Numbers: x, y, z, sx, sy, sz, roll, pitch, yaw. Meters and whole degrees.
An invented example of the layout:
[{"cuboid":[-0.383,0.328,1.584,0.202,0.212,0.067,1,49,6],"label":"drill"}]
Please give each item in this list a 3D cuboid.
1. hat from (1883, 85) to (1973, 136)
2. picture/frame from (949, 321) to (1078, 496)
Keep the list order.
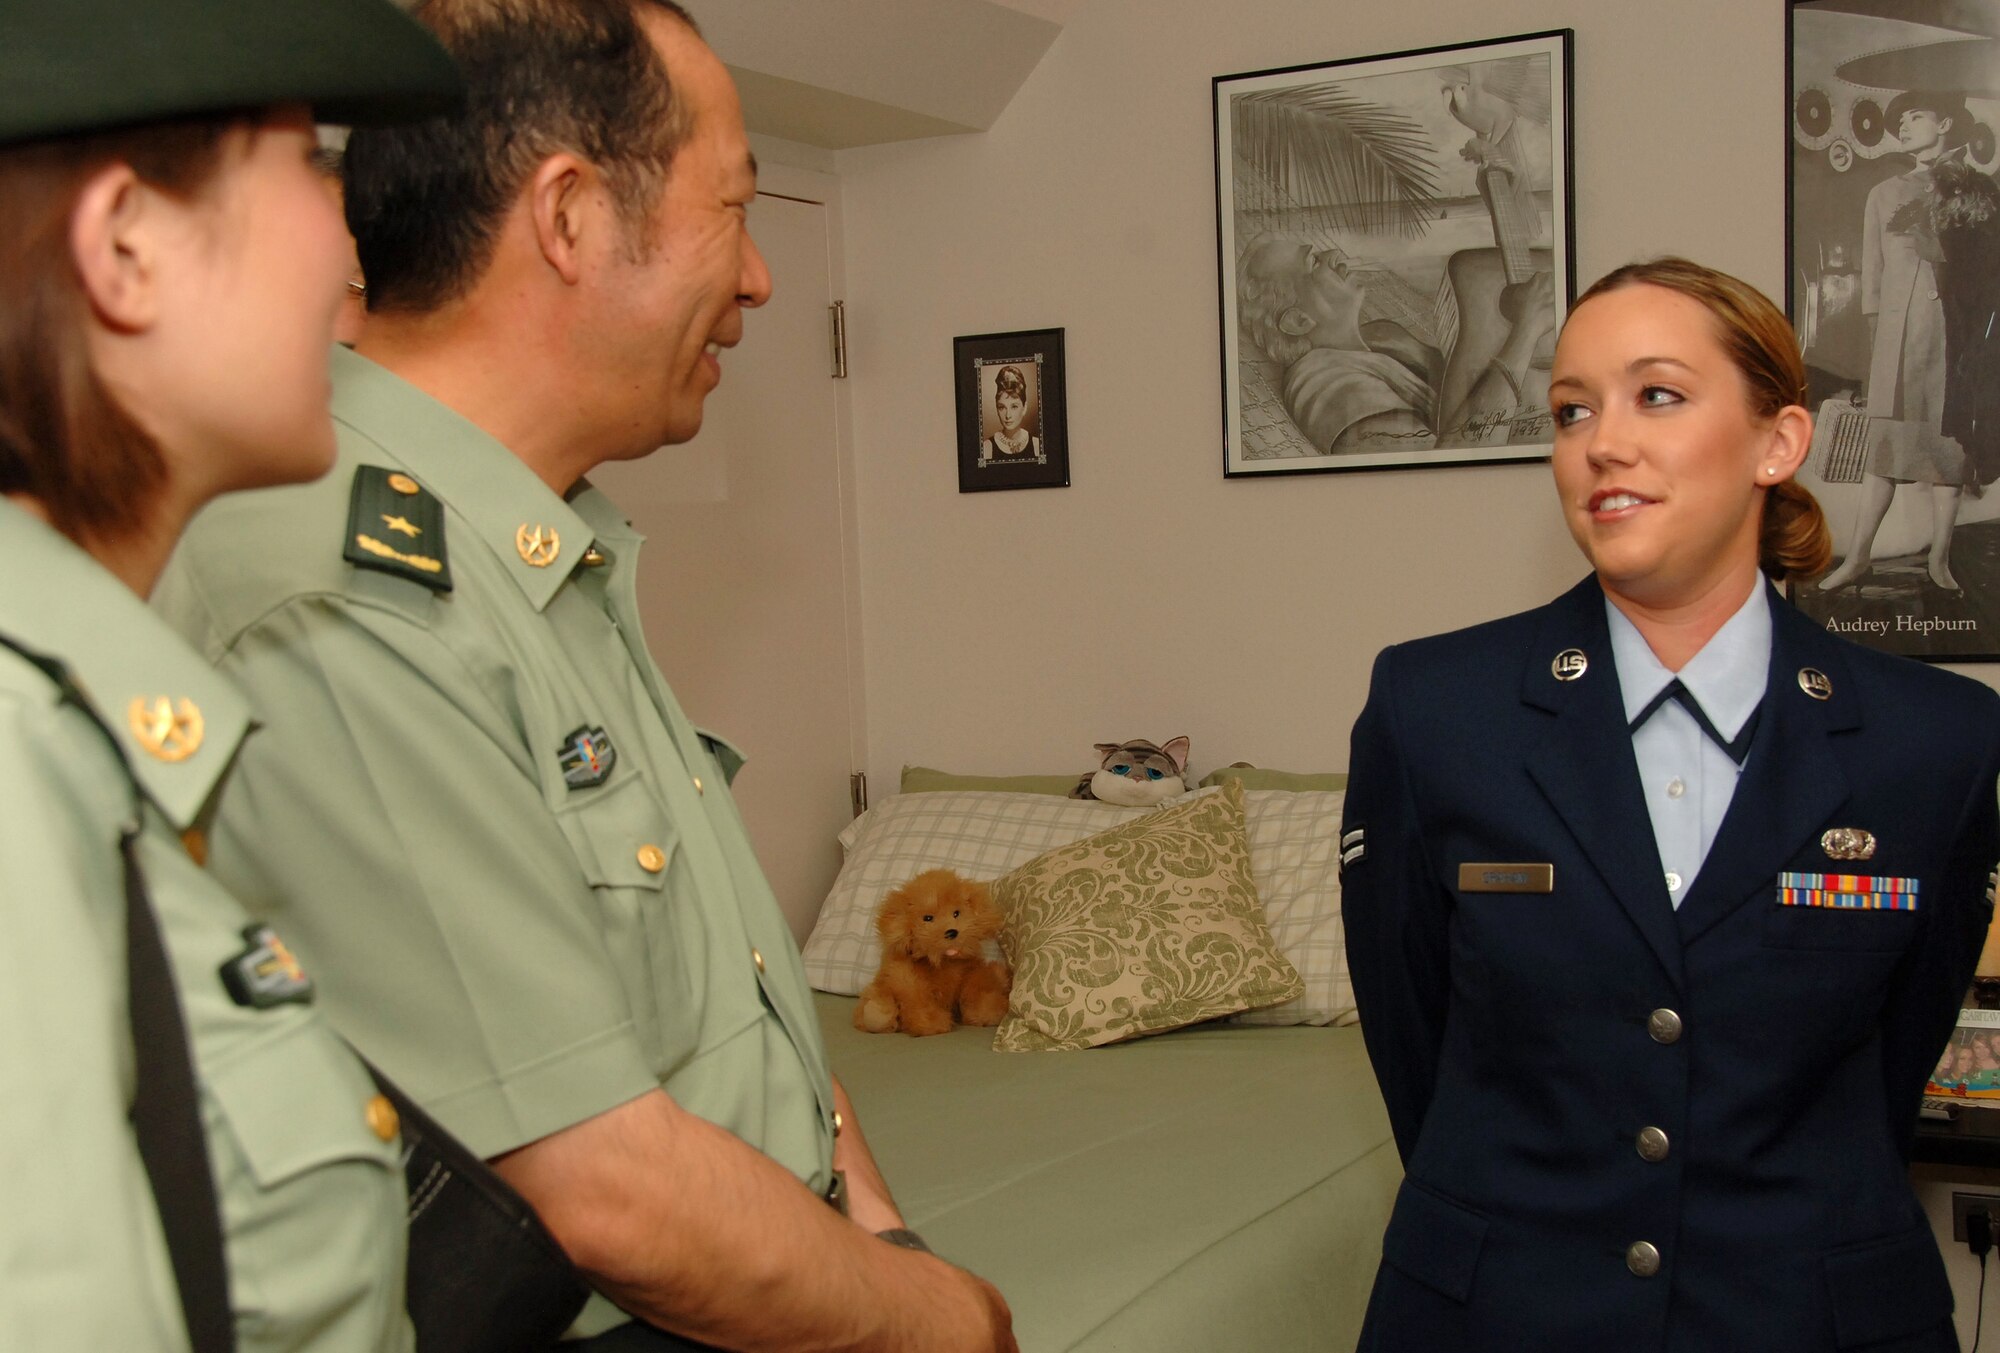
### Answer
[{"cuboid":[2.072,-1.259,3.427,0.120,0.049,0.090,-2,7,-28],"label":"hat"},{"cuboid":[0.050,-0.751,4.267,0.459,0.642,0.066,-1,-1,20],"label":"picture/frame"}]
